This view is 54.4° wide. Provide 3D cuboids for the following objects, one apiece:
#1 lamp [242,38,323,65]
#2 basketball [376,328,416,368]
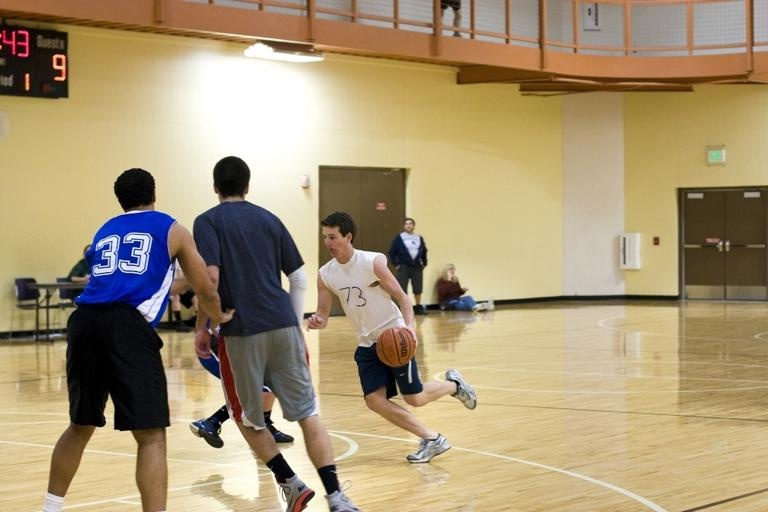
[{"bbox_3d":[-1.874,-3.794,13.892,1.160,0.185,0.628,2,2,-29],"label":"lamp"},{"bbox_3d":[0.100,0.704,5.897,0.291,0.307,0.301,0,0,18],"label":"basketball"}]
